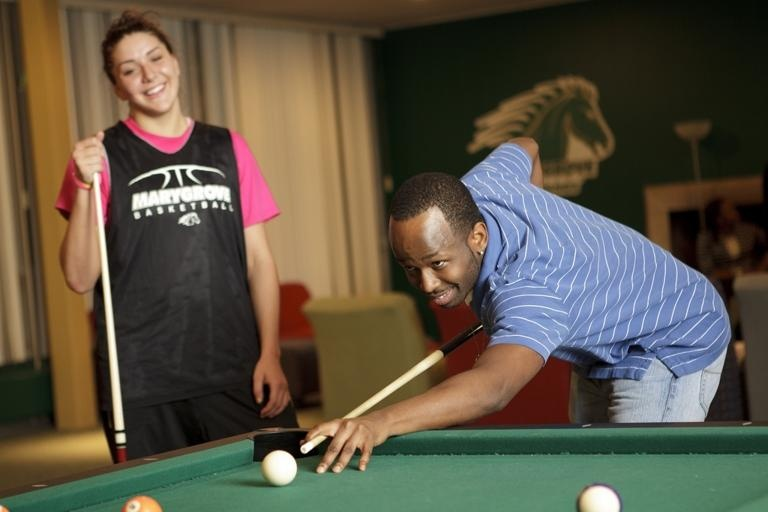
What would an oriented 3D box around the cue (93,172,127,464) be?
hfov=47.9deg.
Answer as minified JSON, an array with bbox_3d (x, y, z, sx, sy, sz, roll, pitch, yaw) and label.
[{"bbox_3d":[-1.084,0.267,3.414,0.152,1.194,0.182,-4,9,-21],"label":"cue"}]
